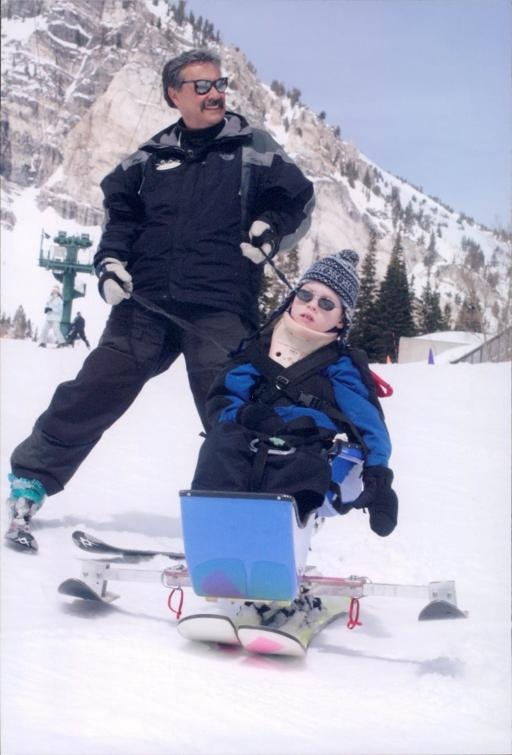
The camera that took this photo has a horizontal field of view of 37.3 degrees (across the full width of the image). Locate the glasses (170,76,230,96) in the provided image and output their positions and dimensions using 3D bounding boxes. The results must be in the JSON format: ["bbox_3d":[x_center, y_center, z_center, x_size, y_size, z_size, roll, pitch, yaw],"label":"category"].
[{"bbox_3d":[-0.192,-1.055,2.748,0.176,0.085,0.065,4,3,-9],"label":"glasses"}]

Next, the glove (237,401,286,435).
[{"bbox_3d":[0.016,0.108,2.077,0.106,0.075,0.034,17,-23,6],"label":"glove"}]

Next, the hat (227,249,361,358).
[{"bbox_3d":[0.117,-0.254,2.283,0.359,0.250,0.219,-6,6,3],"label":"hat"}]

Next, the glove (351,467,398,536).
[{"bbox_3d":[0.314,0.324,2.046,0.141,0.174,0.071,12,-34,-13],"label":"glove"}]

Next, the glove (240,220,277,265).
[{"bbox_3d":[0.012,-0.454,2.518,0.063,0.107,0.154,-1,21,45],"label":"glove"}]

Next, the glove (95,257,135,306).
[{"bbox_3d":[-0.514,-0.346,2.711,0.081,0.165,0.123,-14,-36,-27],"label":"glove"}]
